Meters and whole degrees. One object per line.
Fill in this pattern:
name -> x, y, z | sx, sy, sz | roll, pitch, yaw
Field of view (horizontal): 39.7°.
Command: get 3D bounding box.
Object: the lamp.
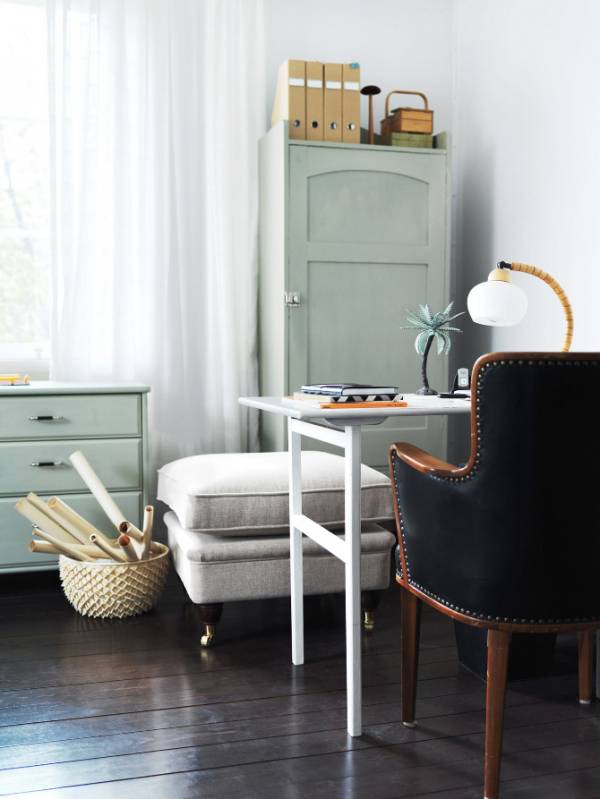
lamp -> 0.571, -0.204, 2.129 | 0.245, 0.323, 0.124 | -2, -16, 7

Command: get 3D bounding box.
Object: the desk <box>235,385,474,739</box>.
desk -> 0.056, 0.308, 2.187 | 0.593, 0.881, 0.650 | -3, 7, -22

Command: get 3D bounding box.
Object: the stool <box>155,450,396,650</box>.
stool -> -0.085, 0.388, 2.372 | 0.499, 0.464, 0.550 | -1, 3, -13

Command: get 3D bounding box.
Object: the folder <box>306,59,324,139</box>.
folder -> 0.050, -1.138, 3.174 | 0.066, 0.294, 0.046 | 0, 4, -3

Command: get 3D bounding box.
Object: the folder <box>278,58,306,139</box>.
folder -> -0.036, -1.140, 3.221 | 0.104, 0.312, 0.244 | 0, 4, -2
